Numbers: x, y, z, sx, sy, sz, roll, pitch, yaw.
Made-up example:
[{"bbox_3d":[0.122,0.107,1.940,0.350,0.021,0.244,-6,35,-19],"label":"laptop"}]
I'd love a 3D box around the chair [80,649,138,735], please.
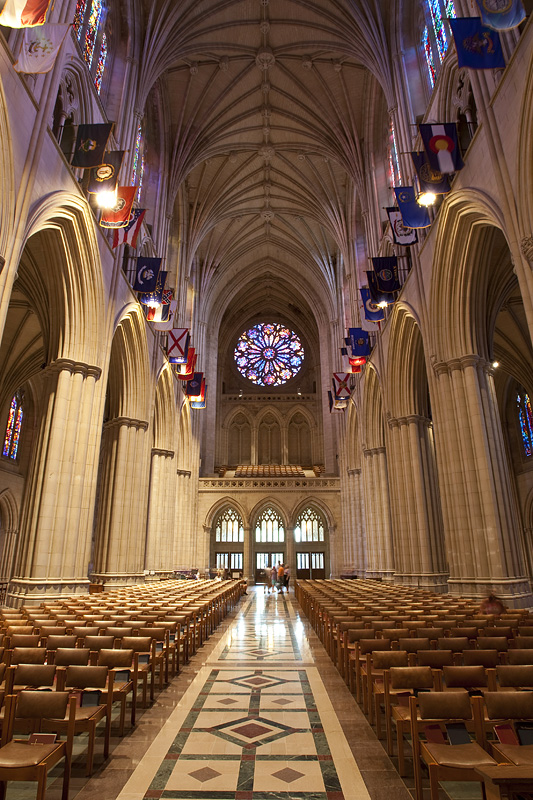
[{"bbox_3d":[-1.427,2.642,4.440,0.450,0.663,0.513,-7,-17,14],"label":"chair"}]

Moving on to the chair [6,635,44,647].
[{"bbox_3d":[-2.589,2.520,5.153,0.366,0.113,0.121,-12,-21,24],"label":"chair"}]

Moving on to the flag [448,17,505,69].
[{"bbox_3d":[3.686,-6.090,8.411,0.925,0.069,1.016,28,-3,33],"label":"flag"}]

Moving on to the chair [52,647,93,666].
[{"bbox_3d":[-1.752,2.305,4.412,0.240,0.138,0.392,14,-26,-39],"label":"chair"}]

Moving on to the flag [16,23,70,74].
[{"bbox_3d":[-3.547,-5.377,7.634,0.795,0.104,0.947,-38,3,-38],"label":"flag"}]

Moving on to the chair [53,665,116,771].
[{"bbox_3d":[-1.411,2.365,3.660,0.437,0.613,0.479,-5,-14,17],"label":"chair"}]

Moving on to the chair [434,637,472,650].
[{"bbox_3d":[1.927,2.473,4.983,0.305,0.121,0.134,-5,-19,7],"label":"chair"}]

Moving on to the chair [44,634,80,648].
[{"bbox_3d":[-2.137,2.491,5.080,0.282,0.111,0.194,-20,-26,40],"label":"chair"}]

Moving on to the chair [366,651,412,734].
[{"bbox_3d":[1.125,2.561,4.305,0.349,0.654,0.373,2,-15,3],"label":"chair"}]
